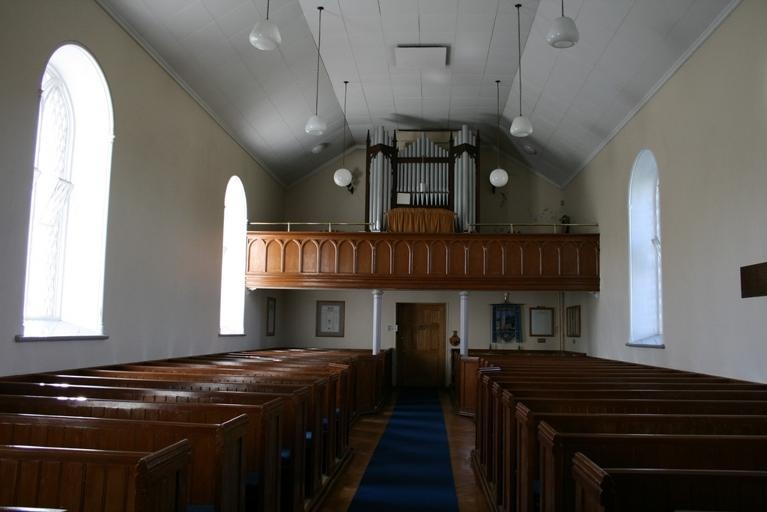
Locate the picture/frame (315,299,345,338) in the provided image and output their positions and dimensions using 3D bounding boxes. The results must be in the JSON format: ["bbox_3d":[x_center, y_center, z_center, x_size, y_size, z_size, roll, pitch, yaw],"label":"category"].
[{"bbox_3d":[-1.496,1.867,16.854,0.973,1.314,0.110,-1,-8,5],"label":"picture/frame"}]

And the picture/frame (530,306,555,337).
[{"bbox_3d":[4.486,1.890,16.441,0.761,0.980,0.151,0,-11,5],"label":"picture/frame"}]
